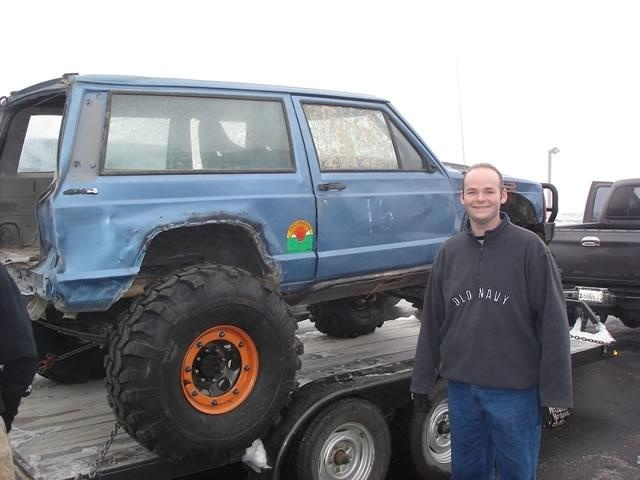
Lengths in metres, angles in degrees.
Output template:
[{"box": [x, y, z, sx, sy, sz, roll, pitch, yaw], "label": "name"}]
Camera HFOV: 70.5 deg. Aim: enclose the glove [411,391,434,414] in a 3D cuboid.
[{"box": [0.611, 0.994, 2.814, 0.112, 0.053, 0.149, -6, 49, -46], "label": "glove"}]
